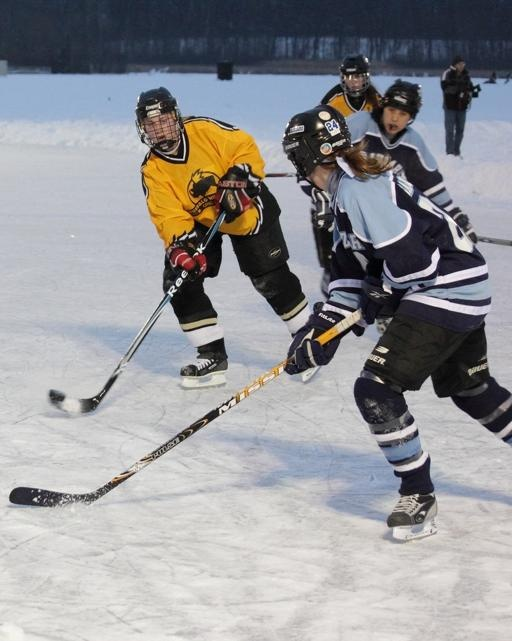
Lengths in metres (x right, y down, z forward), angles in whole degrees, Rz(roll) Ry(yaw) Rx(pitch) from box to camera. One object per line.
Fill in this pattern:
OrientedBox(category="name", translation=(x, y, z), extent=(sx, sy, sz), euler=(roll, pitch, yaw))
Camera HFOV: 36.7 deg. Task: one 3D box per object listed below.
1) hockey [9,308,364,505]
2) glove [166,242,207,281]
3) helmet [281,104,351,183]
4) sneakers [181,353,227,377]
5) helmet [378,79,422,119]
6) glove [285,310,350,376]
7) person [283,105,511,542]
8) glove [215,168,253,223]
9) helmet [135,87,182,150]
OrientedBox(category="hockey", translation=(-0.262, 0.340, 2.506), extent=(0.187, 0.098, 1.366), euler=(41, 34, 12))
OrientedBox(category="glove", translation=(-0.294, -0.262, 3.306), extent=(0.159, 0.097, 0.179), euler=(3, 10, 15))
OrientedBox(category="helmet", translation=(0.167, -0.505, 2.178), extent=(0.269, 0.205, 0.196), euler=(-1, 12, 19))
OrientedBox(category="sneakers", translation=(-0.223, 0.204, 3.491), extent=(0.261, 0.076, 0.087), euler=(0, -3, -33))
OrientedBox(category="helmet", translation=(0.682, -1.033, 3.635), extent=(0.198, 0.161, 0.194), euler=(16, 13, -9))
OrientedBox(category="glove", translation=(0.161, 0.074, 2.301), extent=(0.066, 0.208, 0.164), euler=(42, 2, -23))
OrientedBox(category="person", translation=(0.412, -0.026, 2.254), extent=(0.506, 1.207, 0.488), euler=(-11, 15, -30))
OrientedBox(category="glove", translation=(-0.094, -0.553, 3.285), extent=(0.152, 0.203, 0.077), euler=(-5, 13, -7))
OrientedBox(category="helmet", translation=(-0.408, -0.839, 3.227), extent=(0.196, 0.275, 0.180), euler=(-4, 12, -4))
